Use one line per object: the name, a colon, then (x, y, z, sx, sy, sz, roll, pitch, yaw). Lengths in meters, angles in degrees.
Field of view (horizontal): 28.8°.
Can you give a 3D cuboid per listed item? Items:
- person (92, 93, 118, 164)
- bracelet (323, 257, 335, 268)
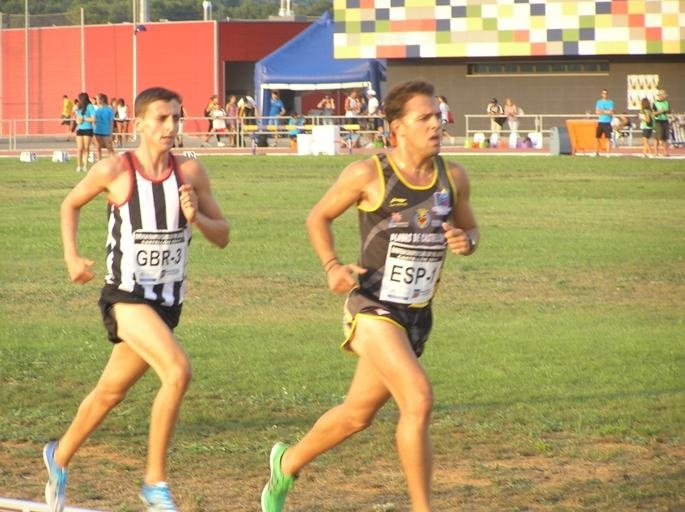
person: (-5.666, -3.030, 31.597, 0.505, 1.606, 0.455, -6, 23, -24)
bracelet: (-0.129, 0.068, 13.094, 0.095, 0.024, 0.100, -40, 1, -1)
